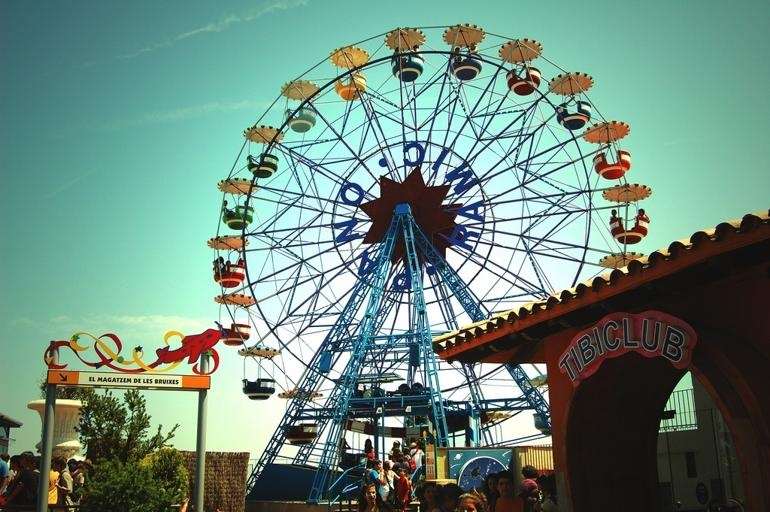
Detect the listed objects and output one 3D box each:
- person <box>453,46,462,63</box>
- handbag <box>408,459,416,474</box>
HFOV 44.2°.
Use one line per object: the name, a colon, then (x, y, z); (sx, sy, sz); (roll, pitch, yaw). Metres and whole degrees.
person: (2.560, -7.338, 33.882); (0.294, 0.671, 0.646); (-1, -22, 3)
handbag: (0.721, 5.580, 25.259); (0.197, 0.235, 0.240); (-6, -13, 15)
